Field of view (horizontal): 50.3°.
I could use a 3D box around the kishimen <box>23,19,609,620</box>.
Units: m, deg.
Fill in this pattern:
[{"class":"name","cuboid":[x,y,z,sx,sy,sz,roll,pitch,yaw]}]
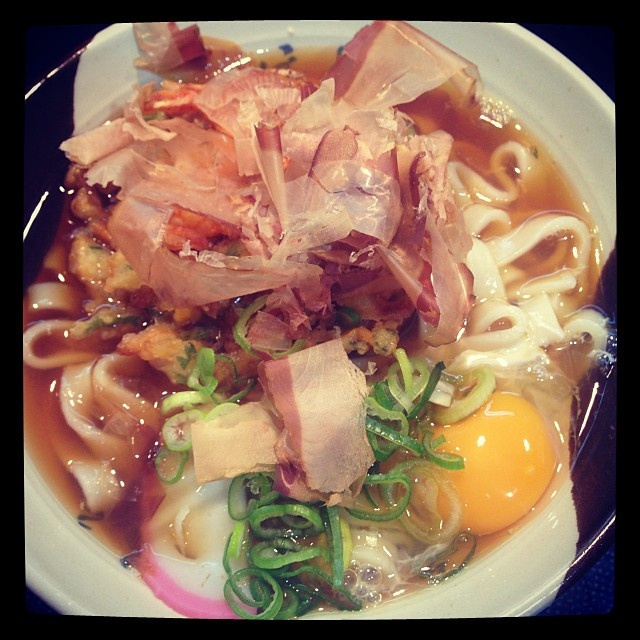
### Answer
[{"class":"kishimen","cuboid":[-0.046,0.081,2.405,2.700,0.583,2.227,5,90,1]}]
